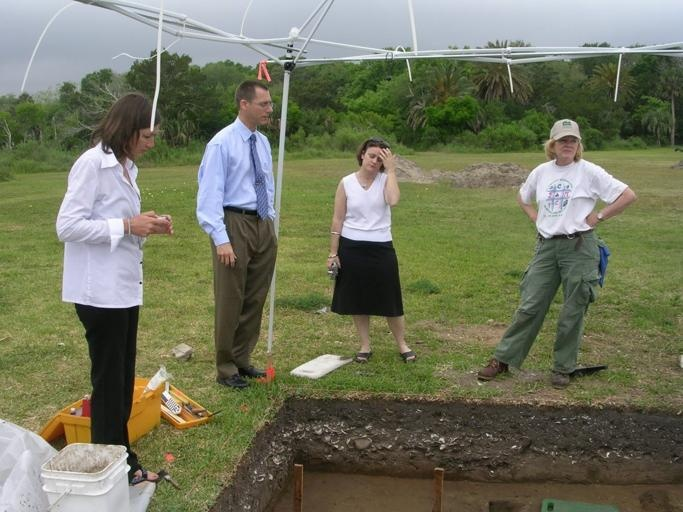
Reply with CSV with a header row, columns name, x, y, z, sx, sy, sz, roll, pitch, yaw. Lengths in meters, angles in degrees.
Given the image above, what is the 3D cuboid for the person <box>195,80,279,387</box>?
name,x,y,z,sx,sy,sz,roll,pitch,yaw
person,-1.039,-0.190,6.659,0.421,3.112,0.872,13,17,42

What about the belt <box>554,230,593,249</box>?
name,x,y,z,sx,sy,sz,roll,pitch,yaw
belt,2.420,-0.169,6.824,0.245,0.151,0.199,-3,0,-4

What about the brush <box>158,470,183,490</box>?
name,x,y,z,sx,sy,sz,roll,pitch,yaw
brush,-1.439,1.874,5.507,0.150,0.044,0.144,39,8,-13

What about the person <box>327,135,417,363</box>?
name,x,y,z,sx,sy,sz,roll,pitch,yaw
person,0.350,-0.054,7.400,0.955,2.517,0.497,2,12,3

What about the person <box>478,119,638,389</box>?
name,x,y,z,sx,sy,sz,roll,pitch,yaw
person,2.340,-0.036,6.949,1.117,2.760,0.658,6,13,20

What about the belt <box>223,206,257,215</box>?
name,x,y,z,sx,sy,sz,roll,pitch,yaw
belt,-1.001,-0.452,6.536,0.324,0.090,0.060,-1,12,-11

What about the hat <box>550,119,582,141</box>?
name,x,y,z,sx,sy,sz,roll,pitch,yaw
hat,2.344,-1.332,6.886,0.247,0.159,0.323,2,-1,10

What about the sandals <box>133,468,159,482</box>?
name,x,y,z,sx,sy,sz,roll,pitch,yaw
sandals,-1.622,1.809,5.478,0.144,0.076,0.229,-24,-24,36

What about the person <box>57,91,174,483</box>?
name,x,y,z,sx,sy,sz,roll,pitch,yaw
person,-1.805,0.302,5.248,0.803,3.163,0.601,-8,16,-38

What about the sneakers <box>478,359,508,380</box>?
name,x,y,z,sx,sy,sz,roll,pitch,yaw
sneakers,1.633,1.241,7.132,0.152,0.167,0.428,6,3,41
